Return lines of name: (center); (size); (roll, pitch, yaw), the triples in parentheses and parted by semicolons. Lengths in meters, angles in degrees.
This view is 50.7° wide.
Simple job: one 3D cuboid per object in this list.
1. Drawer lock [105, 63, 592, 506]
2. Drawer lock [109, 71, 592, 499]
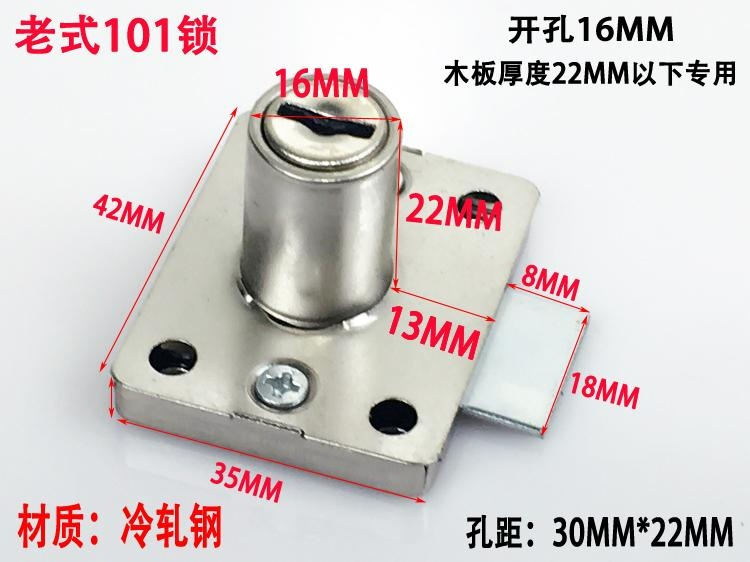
Drawer lock: (-0.045, 0.109, 1.537); (0.739, 0.532, 0.782); (20, 62, 6)
Drawer lock: (-0.047, 0.033, 1.475); (0.745, 0.435, 0.761); (18, 59, 9)
